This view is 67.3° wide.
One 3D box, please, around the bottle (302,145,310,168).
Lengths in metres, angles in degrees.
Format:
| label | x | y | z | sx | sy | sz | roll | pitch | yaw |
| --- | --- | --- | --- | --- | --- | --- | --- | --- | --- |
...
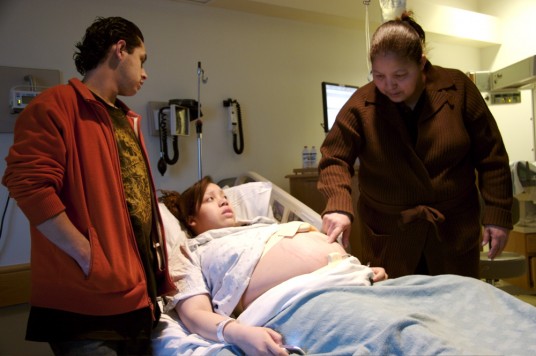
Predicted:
| label | x | y | z | sx | sy | sz | roll | pitch | yaw |
| --- | --- | --- | --- | --- | --- | --- | --- | --- | --- |
| bottle | 0.353 | -0.197 | 3.789 | 0.064 | 0.185 | 0.111 | 0 | 6 | 7 |

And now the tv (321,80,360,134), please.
| label | x | y | z | sx | sy | sz | roll | pitch | yaw |
| --- | --- | --- | --- | --- | --- | --- | --- | --- | --- |
| tv | 0.720 | -0.677 | 3.951 | 0.032 | 0.462 | 0.609 | 2 | 7 | 41 |

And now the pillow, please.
| label | x | y | z | sx | sy | sz | roll | pitch | yaw |
| --- | --- | --- | --- | --- | --- | --- | --- | --- | --- |
| pillow | -0.351 | 0.233 | 2.749 | 0.704 | 0.478 | 0.380 | -10 | 12 | -32 |

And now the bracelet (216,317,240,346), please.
| label | x | y | z | sx | sy | sz | roll | pitch | yaw |
| --- | --- | --- | --- | --- | --- | --- | --- | --- | --- |
| bracelet | -0.203 | 0.718 | 1.894 | 0.072 | 0.110 | 0.073 | 3 | 7 | 37 |
